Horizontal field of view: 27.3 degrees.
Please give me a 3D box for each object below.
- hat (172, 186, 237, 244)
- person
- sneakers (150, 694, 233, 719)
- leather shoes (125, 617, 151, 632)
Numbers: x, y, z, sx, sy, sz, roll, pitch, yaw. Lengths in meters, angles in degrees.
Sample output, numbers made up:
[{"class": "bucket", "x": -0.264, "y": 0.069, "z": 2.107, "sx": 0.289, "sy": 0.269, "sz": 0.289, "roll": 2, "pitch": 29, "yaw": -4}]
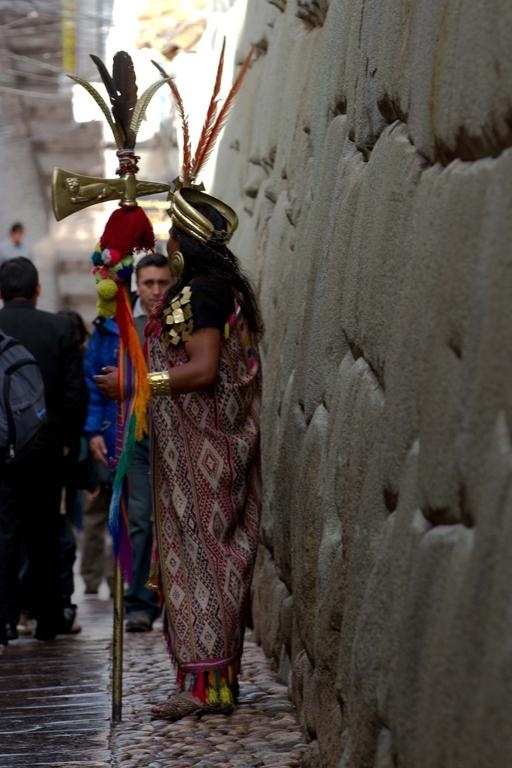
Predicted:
[{"class": "hat", "x": -0.150, "y": -0.498, "z": 3.244, "sx": 0.204, "sy": 0.075, "sz": 0.180, "roll": 29, "pitch": 4, "yaw": -43}, {"class": "person", "x": -0.293, "y": 0.042, "z": 3.278, "sx": 0.670, "sy": 2.140, "sz": 0.824, "roll": 0, "pitch": 14, "yaw": -8}, {"class": "sneakers", "x": -0.198, "y": 0.962, "z": 3.165, "sx": 0.248, "sy": 0.100, "sz": 0.091, "roll": 4, "pitch": -4, "yaw": -10}, {"class": "leather shoes", "x": -0.546, "y": 1.114, "z": 4.848, "sx": 0.136, "sy": 0.062, "sz": 0.052, "roll": 2, "pitch": -3, "yaw": 10}]
